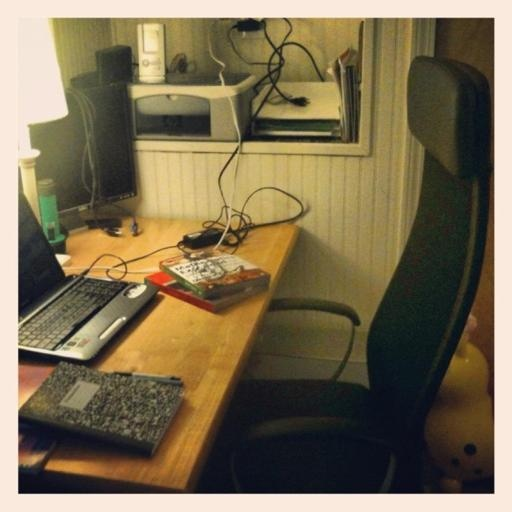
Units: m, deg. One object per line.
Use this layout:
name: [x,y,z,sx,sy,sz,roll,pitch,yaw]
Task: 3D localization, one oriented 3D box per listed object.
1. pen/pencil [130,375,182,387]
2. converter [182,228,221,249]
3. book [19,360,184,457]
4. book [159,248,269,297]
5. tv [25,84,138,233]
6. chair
pen/pencil: [-0.173,0.223,0.852,0.104,0.018,0.011,5,19,7]
converter: [-0.176,-0.065,1.527,0.112,0.037,0.059,-15,24,-41]
book: [-0.247,0.246,0.767,0.168,0.023,0.121,11,25,17]
book: [-0.111,0.048,1.254,0.215,0.043,0.220,-18,32,-40]
tv: [-0.570,-0.325,1.521,0.146,0.405,0.408,15,26,23]
chair: [0.126,0.063,0.954,0.484,0.853,0.424,1,22,4]
